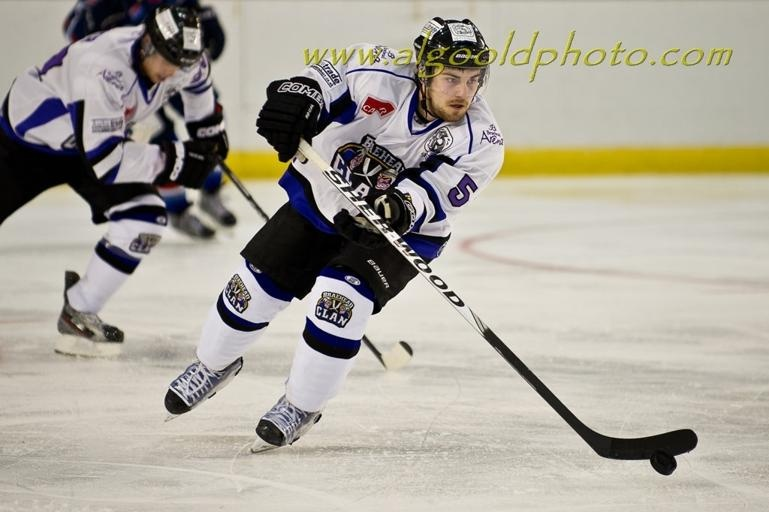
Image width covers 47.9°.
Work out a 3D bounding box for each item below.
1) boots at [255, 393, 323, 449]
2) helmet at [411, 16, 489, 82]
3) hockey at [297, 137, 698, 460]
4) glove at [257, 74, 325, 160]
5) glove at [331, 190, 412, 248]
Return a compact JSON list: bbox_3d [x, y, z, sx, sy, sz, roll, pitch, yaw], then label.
[{"bbox_3d":[-0.429,0.673,3.442,0.132,0.085,0.208,30,14,2],"label":"boots"},{"bbox_3d":[0.267,-0.831,3.485,0.245,0.240,0.288,-2,7,-15],"label":"helmet"},{"bbox_3d":[0.568,0.248,4.251,2.406,0.172,0.382,40,-1,12],"label":"hockey"},{"bbox_3d":[-0.369,-0.575,3.578,0.288,0.334,0.142,2,-7,20],"label":"glove"},{"bbox_3d":[-0.035,-0.154,3.383,0.296,0.235,0.138,11,13,0],"label":"glove"}]
